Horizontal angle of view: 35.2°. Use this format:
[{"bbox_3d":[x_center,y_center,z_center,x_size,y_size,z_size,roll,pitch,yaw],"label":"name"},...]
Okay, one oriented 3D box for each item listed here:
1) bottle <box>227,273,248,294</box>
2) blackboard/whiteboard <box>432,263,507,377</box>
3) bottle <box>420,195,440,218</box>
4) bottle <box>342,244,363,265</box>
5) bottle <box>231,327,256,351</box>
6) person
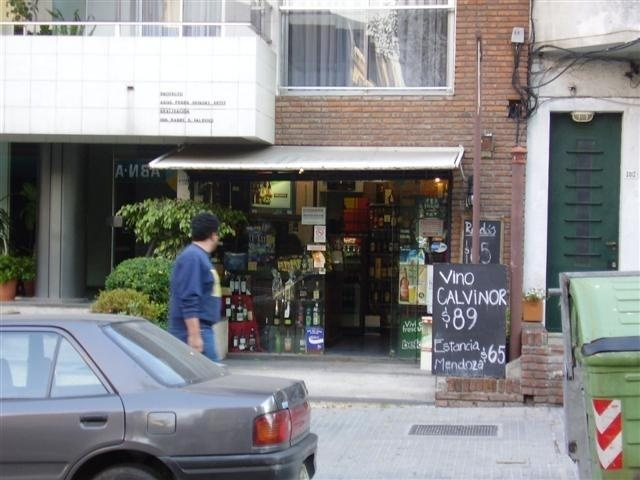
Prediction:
[{"bbox_3d":[-1.539,0.814,18.847,0.253,0.432,0.398,1,-3,-3],"label":"bottle"},{"bbox_3d":[2.186,1.165,14.852,1.115,1.706,0.200,4,3,6],"label":"blackboard/whiteboard"},{"bbox_3d":[1.963,-0.598,18.139,0.358,0.360,0.077,4,3,4],"label":"bottle"},{"bbox_3d":[0.632,0.262,20.208,0.415,0.414,0.241,3,3,-7],"label":"bottle"},{"bbox_3d":[-1.441,1.804,18.750,0.391,0.489,0.423,0,0,0],"label":"bottle"},{"bbox_3d":[-1.553,0.573,12.578,0.551,1.896,0.662,5,4,-3],"label":"person"}]
